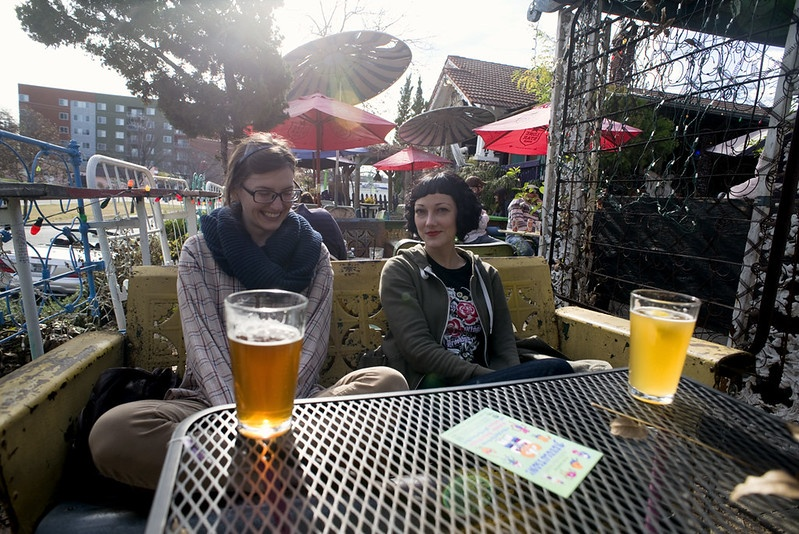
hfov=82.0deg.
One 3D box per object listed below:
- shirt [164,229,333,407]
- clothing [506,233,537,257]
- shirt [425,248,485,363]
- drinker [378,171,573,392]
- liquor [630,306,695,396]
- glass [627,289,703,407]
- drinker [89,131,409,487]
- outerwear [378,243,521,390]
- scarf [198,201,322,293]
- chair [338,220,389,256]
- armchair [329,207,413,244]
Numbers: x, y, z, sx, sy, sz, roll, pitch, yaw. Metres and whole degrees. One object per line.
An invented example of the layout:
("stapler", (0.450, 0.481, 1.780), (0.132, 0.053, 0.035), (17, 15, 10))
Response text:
("shirt", (-0.761, 0.273, 2.649), (0.932, 0.952, 0.788), (2, -13, -14))
("clothing", (1.568, -0.261, 5.751), (0.511, 0.191, 0.398), (8, 9, -39))
("shirt", (0.334, 0.257, 2.797), (0.326, 0.598, 0.158), (-5, -16, -11))
("drinker", (0.438, 0.101, 2.654), (0.915, 1.326, 1.174), (-3, 1, -19))
("liquor", (0.940, 0.320, 1.670), (0.198, 0.313, 0.202), (6, 3, -4))
("glass", (0.953, 0.298, 1.683), (0.221, 0.370, 0.240), (7, 10, 30))
("drinker", (-0.831, 0.219, 2.495), (1.748, 1.689, 1.041), (-4, 9, -38))
("outerwear", (0.267, 0.318, 2.751), (0.778, 0.867, 0.749), (6, 4, 21))
("scarf", (-0.738, -0.123, 2.681), (0.458, 0.254, 0.605), (7, 7, 4))
("chair", (-0.492, -0.460, 6.500), (0.621, 0.627, 0.466), (-2, 12, -8))
("armchair", (-0.625, -0.566, 6.558), (0.737, 0.321, 0.514), (11, 9, -16))
